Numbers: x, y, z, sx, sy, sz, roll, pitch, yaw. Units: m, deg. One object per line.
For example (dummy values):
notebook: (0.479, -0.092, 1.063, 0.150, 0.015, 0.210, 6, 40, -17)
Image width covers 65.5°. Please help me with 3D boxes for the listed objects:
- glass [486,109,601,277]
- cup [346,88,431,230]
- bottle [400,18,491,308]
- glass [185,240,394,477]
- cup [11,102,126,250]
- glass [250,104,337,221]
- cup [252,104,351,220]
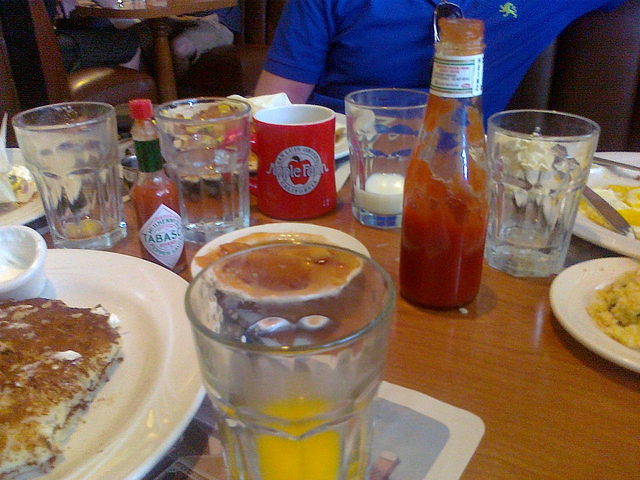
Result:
glass: (0.344, -0.079, 0.812, 0.158, 0.235, 0.169, 0, 30, 0)
cup: (0.161, -0.169, 1.034, 0.202, 0.261, 0.203, 0, 15, 0)
bottle: (0.199, -0.113, 0.728, 0.132, 0.388, 0.219, 10, 31, 16)
glass: (-0.011, 0.126, 0.598, 0.260, 0.269, 0.238, -4, 32, -6)
cup: (-0.425, -0.106, 0.898, 0.159, 0.220, 0.131, -16, 33, -26)
glass: (-0.050, -0.153, 0.982, 0.155, 0.198, 0.132, -8, 31, -13)
cup: (-0.054, -0.167, 1.045, 0.164, 0.173, 0.240, -2, 19, -7)
